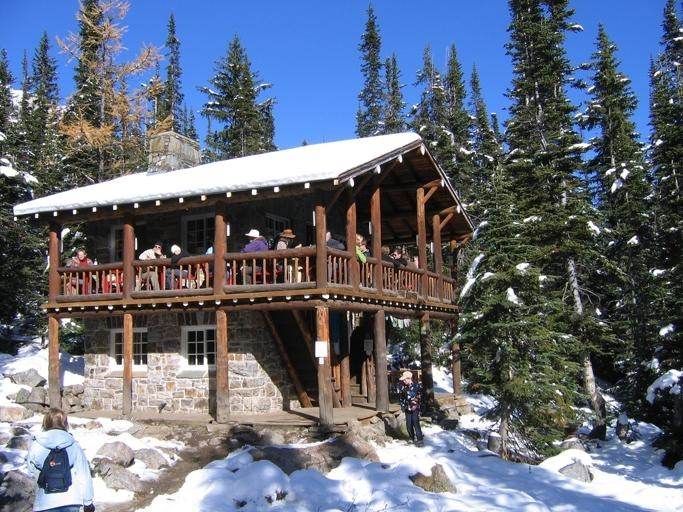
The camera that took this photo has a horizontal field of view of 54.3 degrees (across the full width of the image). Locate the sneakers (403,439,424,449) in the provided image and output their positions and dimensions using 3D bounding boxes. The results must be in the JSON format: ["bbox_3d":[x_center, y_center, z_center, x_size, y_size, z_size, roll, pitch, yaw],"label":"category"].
[{"bbox_3d":[2.249,5.822,20.675,0.682,0.295,0.209,-3,-8,41],"label":"sneakers"}]

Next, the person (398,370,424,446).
[{"bbox_3d":[2.145,4.652,20.581,0.626,2.313,0.887,-3,-2,6],"label":"person"}]

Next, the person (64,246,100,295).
[{"bbox_3d":[-9.467,0.547,24.251,0.987,1.570,1.000,0,-1,-8],"label":"person"}]

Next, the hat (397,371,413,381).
[{"bbox_3d":[1.993,3.643,20.335,0.395,0.308,0.299,-3,-2,0],"label":"hat"}]
